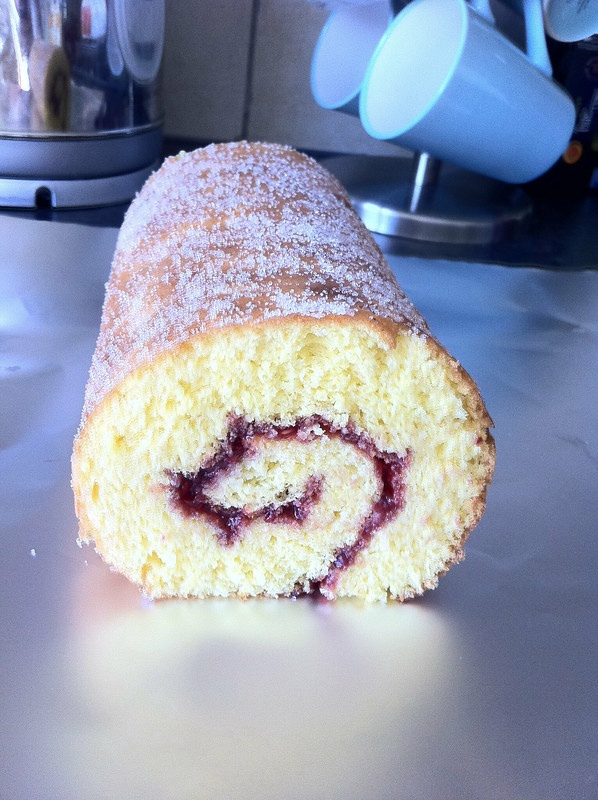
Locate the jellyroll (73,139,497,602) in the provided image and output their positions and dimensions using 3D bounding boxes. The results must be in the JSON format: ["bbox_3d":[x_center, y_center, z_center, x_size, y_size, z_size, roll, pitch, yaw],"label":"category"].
[{"bbox_3d":[-0.038,-0.099,1.008,0.395,0.334,0.596,-2,32,-5],"label":"jellyroll"}]
